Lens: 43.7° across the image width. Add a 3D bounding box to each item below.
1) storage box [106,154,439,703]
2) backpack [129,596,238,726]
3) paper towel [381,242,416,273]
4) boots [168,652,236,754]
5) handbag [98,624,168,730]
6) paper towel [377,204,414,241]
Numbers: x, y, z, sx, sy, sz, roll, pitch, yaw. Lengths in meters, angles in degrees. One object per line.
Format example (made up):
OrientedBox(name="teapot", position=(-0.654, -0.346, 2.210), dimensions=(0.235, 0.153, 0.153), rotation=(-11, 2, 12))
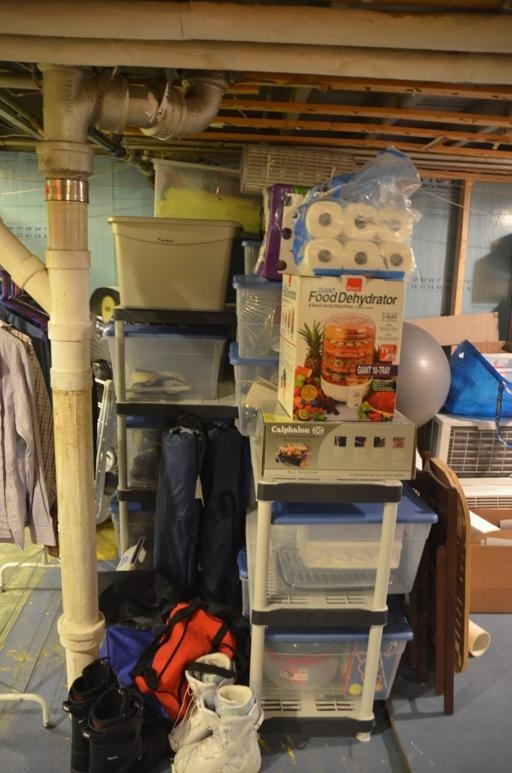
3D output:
OrientedBox(name="storage box", position=(0.257, 0.221, 2.012), dimensions=(0.628, 1.827, 0.520), rotation=(5, 10, 16))
OrientedBox(name="backpack", position=(-0.268, 0.958, 2.308), dimensions=(0.138, 0.316, 0.353), rotation=(7, 49, 51))
OrientedBox(name="paper towel", position=(0.390, -0.350, 1.727), dimensions=(0.084, 0.079, 0.031), rotation=(0, 7, -12))
OrientedBox(name="boots", position=(-0.210, 1.065, 2.149), dimensions=(0.356, 0.245, 0.116), rotation=(-11, 18, 11))
OrientedBox(name="handbag", position=(-0.422, 1.009, 2.198), dimensions=(0.183, 0.310, 0.268), rotation=(-27, 31, -32))
OrientedBox(name="paper towel", position=(0.373, -0.436, 1.720), dimensions=(0.098, 0.088, 0.023), rotation=(0, 10, -12))
